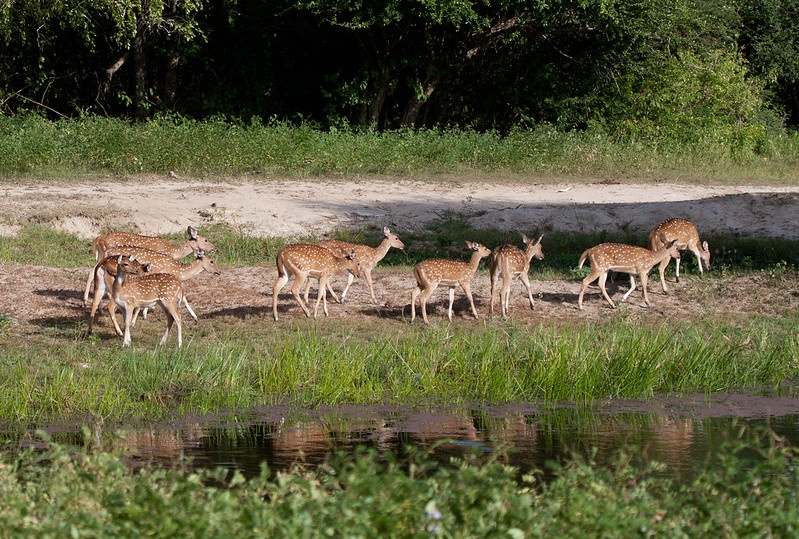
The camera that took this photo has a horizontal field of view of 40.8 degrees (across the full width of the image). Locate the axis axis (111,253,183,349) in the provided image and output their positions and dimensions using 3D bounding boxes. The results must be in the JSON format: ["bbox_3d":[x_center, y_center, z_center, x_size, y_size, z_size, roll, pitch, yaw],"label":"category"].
[{"bbox_3d":[-4.341,0.578,18.582,1.179,1.445,0.848,-1,7,-15],"label":"axis axis"}]
